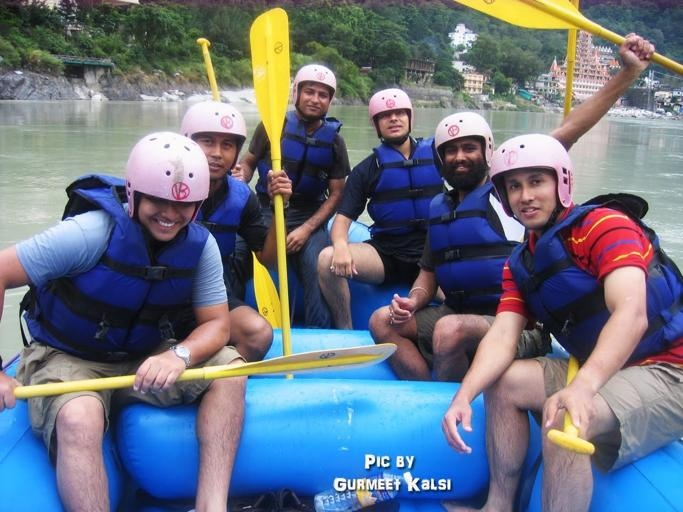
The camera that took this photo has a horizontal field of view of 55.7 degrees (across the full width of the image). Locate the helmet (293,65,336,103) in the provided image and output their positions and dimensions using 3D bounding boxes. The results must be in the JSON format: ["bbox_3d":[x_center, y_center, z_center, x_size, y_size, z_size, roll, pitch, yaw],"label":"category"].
[{"bbox_3d":[-0.177,-1.227,4.710,0.236,0.298,0.320,5,14,-18],"label":"helmet"}]

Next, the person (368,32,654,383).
[{"bbox_3d":[0.875,-0.172,3.545,1.451,2.135,0.864,0,-4,-2],"label":"person"}]

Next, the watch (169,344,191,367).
[{"bbox_3d":[-0.672,0.426,2.691,0.081,0.092,0.092,5,16,7],"label":"watch"}]

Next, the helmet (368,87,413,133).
[{"bbox_3d":[0.335,-0.997,4.430,0.197,0.224,0.279,-11,3,3],"label":"helmet"}]

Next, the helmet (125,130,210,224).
[{"bbox_3d":[-0.750,-0.354,2.808,0.323,0.394,0.432,-3,24,-34],"label":"helmet"}]

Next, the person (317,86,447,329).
[{"bbox_3d":[0.388,-0.321,4.342,1.060,1.671,0.906,-4,7,7],"label":"person"}]

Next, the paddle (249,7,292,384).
[{"bbox_3d":[-0.423,-0.513,3.901,0.262,2.505,0.099,-1,0,19],"label":"paddle"}]

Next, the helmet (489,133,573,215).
[{"bbox_3d":[0.857,-0.382,2.806,0.339,0.301,0.276,-7,-13,-17],"label":"helmet"}]

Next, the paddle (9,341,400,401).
[{"bbox_3d":[-0.624,0.500,2.806,1.482,0.191,0.068,-5,38,-18],"label":"paddle"}]

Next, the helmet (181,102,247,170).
[{"bbox_3d":[-0.631,-0.598,3.471,0.309,0.322,0.271,-12,-11,42],"label":"helmet"}]

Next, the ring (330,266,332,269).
[{"bbox_3d":[-0.070,0.075,4.261,0.016,0.014,0.041,-2,-14,2],"label":"ring"}]

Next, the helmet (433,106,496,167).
[{"bbox_3d":[0.669,-0.666,3.680,0.271,0.311,0.368,-10,0,22],"label":"helmet"}]
